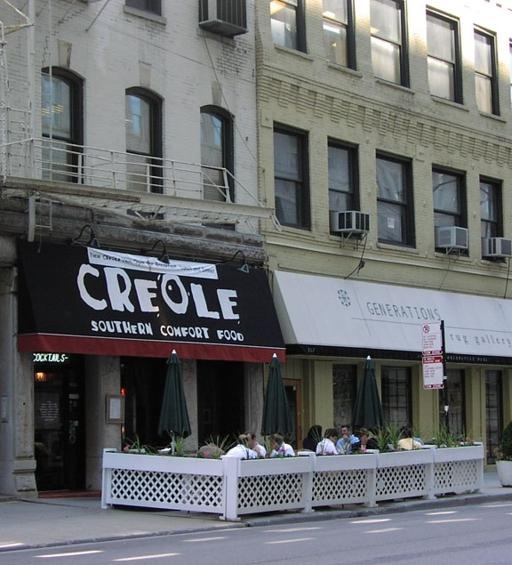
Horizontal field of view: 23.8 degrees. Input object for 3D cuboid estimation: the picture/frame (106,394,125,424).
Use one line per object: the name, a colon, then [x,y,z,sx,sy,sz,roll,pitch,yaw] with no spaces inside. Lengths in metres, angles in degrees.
picture/frame: [-2.560,2.262,21.848,0.057,0.633,0.509,-6,-6,33]

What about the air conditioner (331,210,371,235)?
air conditioner: [2.017,-1.338,26.471,0.724,0.558,0.635,-12,-14,41]

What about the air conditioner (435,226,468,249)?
air conditioner: [4.676,-0.895,28.991,0.458,0.688,0.868,-3,-5,41]

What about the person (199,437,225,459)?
person: [-0.702,2.577,18.609,0.392,0.297,1.448,-2,-11,-3]
